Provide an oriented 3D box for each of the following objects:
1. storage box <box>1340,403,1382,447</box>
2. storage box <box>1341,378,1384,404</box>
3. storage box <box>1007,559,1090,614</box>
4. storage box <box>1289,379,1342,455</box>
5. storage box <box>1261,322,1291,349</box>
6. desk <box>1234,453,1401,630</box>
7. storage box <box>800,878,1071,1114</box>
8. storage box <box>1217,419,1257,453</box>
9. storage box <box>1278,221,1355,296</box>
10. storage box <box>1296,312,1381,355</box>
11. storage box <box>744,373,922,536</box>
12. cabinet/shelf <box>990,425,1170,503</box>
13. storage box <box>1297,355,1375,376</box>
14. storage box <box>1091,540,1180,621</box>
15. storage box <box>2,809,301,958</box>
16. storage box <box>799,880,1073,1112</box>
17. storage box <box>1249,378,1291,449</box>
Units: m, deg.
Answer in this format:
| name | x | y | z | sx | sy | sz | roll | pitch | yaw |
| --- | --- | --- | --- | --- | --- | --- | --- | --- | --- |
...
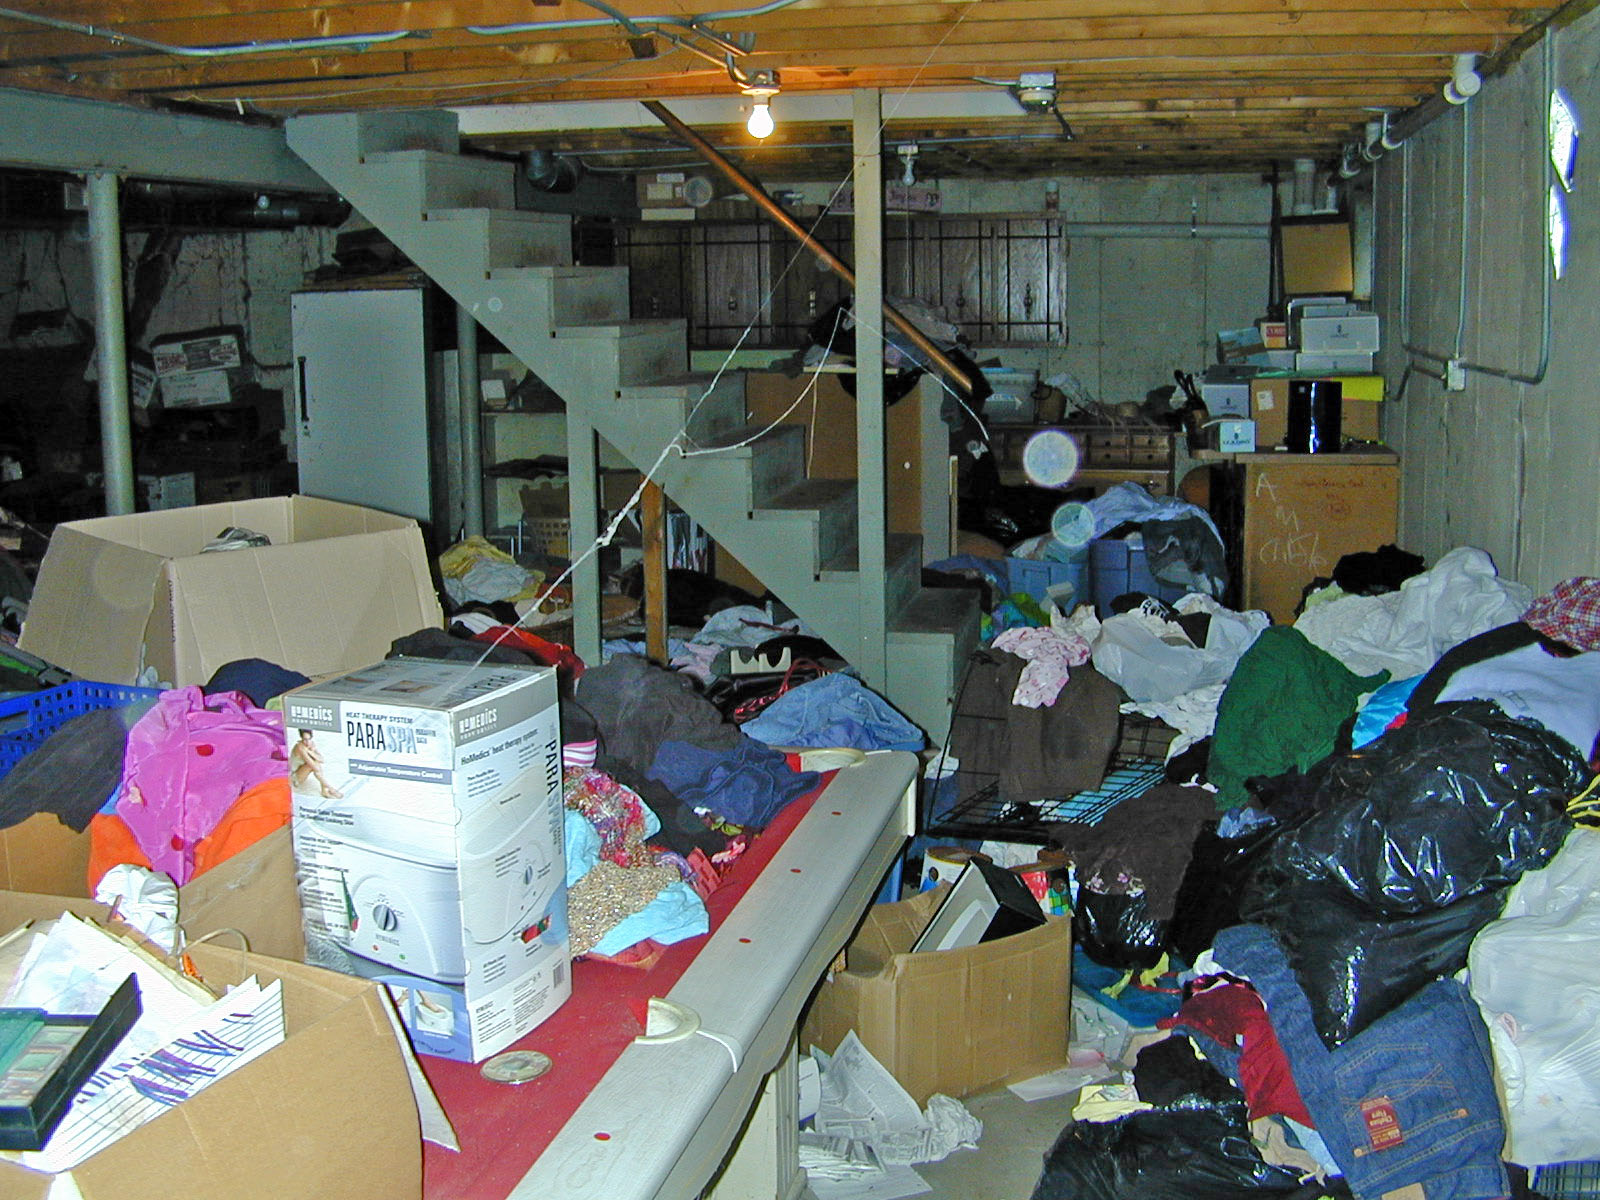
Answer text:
| name | x | y | z | sx | sy | sz | roll | pitch | yaw |
| --- | --- | --- | --- | --- | --- | --- | --- | --- | --- |
| storage box | 2.897 | -0.919 | 7.097 | 0.230 | 0.231 | 0.223 | 4 | 18 | 15 |
| storage box | 2.909 | -1.089 | 7.103 | 0.162 | 0.106 | 0.166 | -17 | 22 | -41 |
| storage box | 1.187 | -0.080 | 6.600 | 0.398 | 0.213 | 0.299 | 3 | 6 | 11 |
| storage box | 2.475 | -0.887 | 6.623 | 0.239 | 0.362 | 0.309 | 3 | 6 | 18 |
| storage box | 2.590 | -1.452 | 7.531 | 0.145 | 0.150 | 0.096 | 3 | 1 | 9 |
| desk | 2.650 | -0.449 | 7.055 | 0.712 | 1.366 | 0.827 | 5 | 14 | 24 |
| storage box | 0.369 | 1.035 | 3.586 | 0.606 | 0.359 | 0.419 | -10 | 13 | -42 |
| storage box | 2.108 | -0.780 | 6.650 | 0.163 | 0.165 | 0.168 | 3 | 3 | 31 |
| storage box | 2.861 | -1.884 | 7.624 | 0.388 | 0.461 | 0.246 | 0 | -16 | 9 |
| storage box | 2.797 | -1.376 | 7.127 | 0.261 | 0.178 | 0.269 | 4 | 14 | 22 |
| storage box | 0.146 | -0.629 | 5.832 | 0.815 | 0.786 | 0.275 | 1 | 8 | 12 |
| cabinet/shelf | 1.719 | -0.866 | 8.255 | 1.027 | 0.420 | 0.376 | 3 | 6 | 14 |
| storage box | 2.808 | -1.219 | 7.152 | 0.440 | 0.118 | 0.094 | 1 | 6 | -9 |
| storage box | 1.545 | -0.117 | 6.404 | 0.418 | 0.425 | 0.350 | 0 | 3 | 19 |
| storage box | -1.102 | 0.480 | 2.309 | 0.381 | 0.129 | 0.282 | 23 | 27 | 8 |
| storage box | 0.347 | 1.022 | 3.570 | 0.607 | 0.380 | 0.419 | -10 | 13 | -42 |
| storage box | 2.293 | -0.915 | 6.728 | 0.177 | 0.332 | 0.157 | 3 | 6 | 17 |
